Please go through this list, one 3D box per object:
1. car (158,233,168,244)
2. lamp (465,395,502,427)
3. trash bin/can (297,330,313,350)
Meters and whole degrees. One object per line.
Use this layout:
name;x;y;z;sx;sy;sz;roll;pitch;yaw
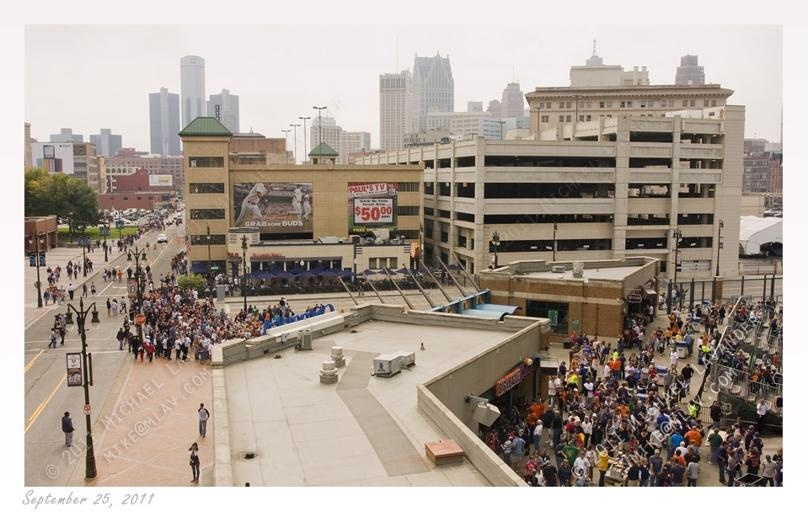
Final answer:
car;-39.314;-2.914;151.257;1.821;1.395;3.930;-1;-1;-19
lamp;5.119;10.010;60.371;1.520;1.817;2.557;8;-7;-25
trash bin/can;-6.648;5.771;64.873;1.055;1.321;1.327;-2;8;-22
